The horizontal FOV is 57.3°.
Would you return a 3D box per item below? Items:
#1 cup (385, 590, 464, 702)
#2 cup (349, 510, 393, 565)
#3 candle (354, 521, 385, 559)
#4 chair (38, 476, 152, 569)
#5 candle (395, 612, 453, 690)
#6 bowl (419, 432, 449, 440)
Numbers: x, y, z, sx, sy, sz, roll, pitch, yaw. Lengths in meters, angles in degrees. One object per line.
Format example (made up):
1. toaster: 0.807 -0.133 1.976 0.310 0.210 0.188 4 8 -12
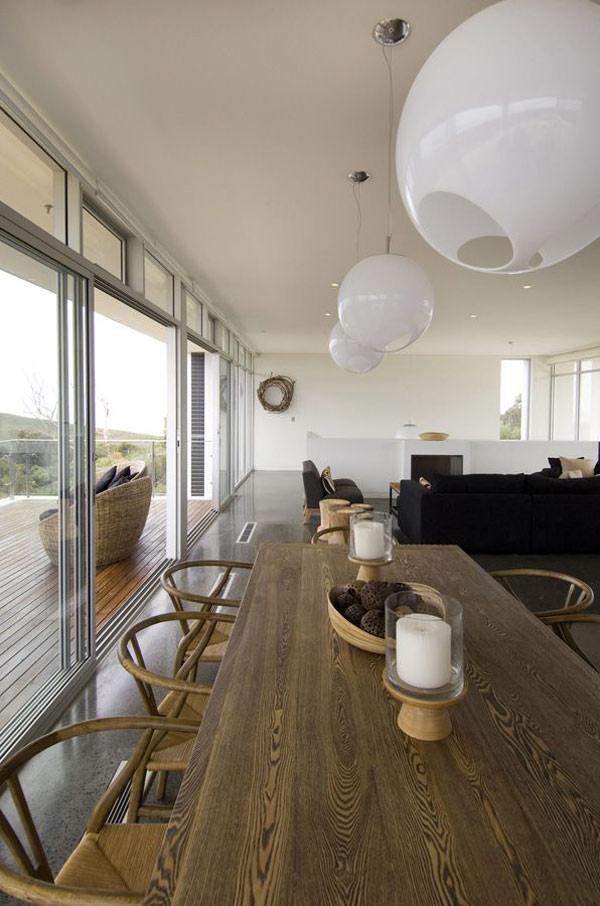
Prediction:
1. cup: 0.176 0.269 0.832 0.132 0.175 0.144 -1 0 0
2. cup: 0.187 0.232 1.445 0.120 0.119 0.098 0 2 -2
3. candle: 0.175 0.228 1.378 0.078 0.077 0.066 1 -2 -12
4. chair: -1.317 0.499 3.915 0.560 0.448 0.482 0 -2 1
5. candle: 0.175 0.277 0.813 0.080 0.102 0.081 2 5 44
6. bowl: 1.794 -0.204 7.359 0.361 0.108 0.359 0 3 0
